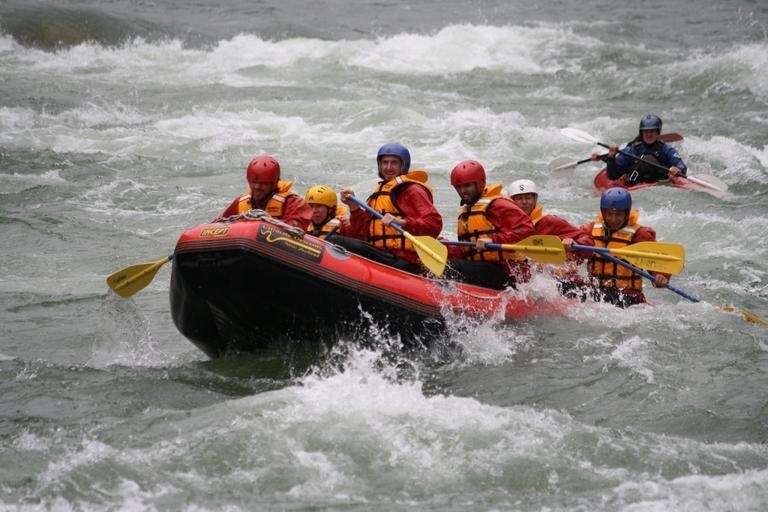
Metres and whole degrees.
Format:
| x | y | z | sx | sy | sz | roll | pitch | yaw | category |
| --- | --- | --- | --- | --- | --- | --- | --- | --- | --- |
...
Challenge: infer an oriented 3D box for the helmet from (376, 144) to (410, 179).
| x | y | z | sx | sy | sz | roll | pitch | yaw | category |
| --- | --- | --- | --- | --- | --- | --- | --- | --- | --- |
| 0.173 | -1.526 | 16.637 | 0.493 | 0.555 | 0.262 | 0 | 13 | -8 | helmet |

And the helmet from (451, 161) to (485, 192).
| x | y | z | sx | sy | sz | roll | pitch | yaw | category |
| --- | --- | --- | --- | --- | --- | --- | --- | --- | --- |
| 1.434 | -1.294 | 16.765 | 0.623 | 0.417 | 0.428 | -24 | 21 | -9 | helmet |

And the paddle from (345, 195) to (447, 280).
| x | y | z | sx | sy | sz | roll | pitch | yaw | category |
| --- | --- | --- | --- | --- | --- | --- | --- | --- | --- |
| 0.330 | -0.258 | 16.206 | 2.312 | 0.548 | 0.106 | 29 | 14 | 25 | paddle |
